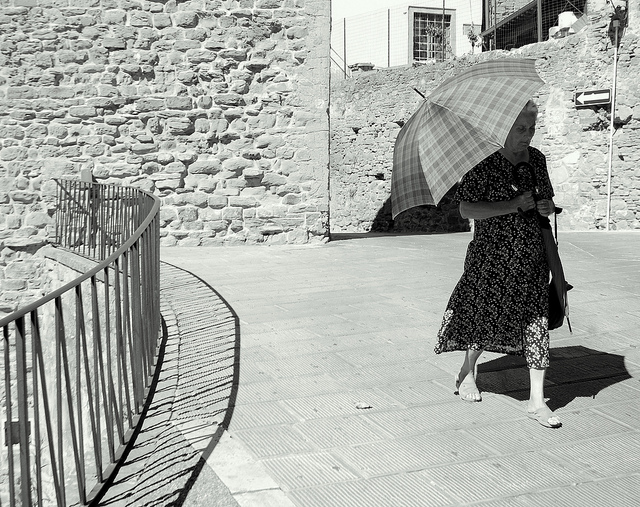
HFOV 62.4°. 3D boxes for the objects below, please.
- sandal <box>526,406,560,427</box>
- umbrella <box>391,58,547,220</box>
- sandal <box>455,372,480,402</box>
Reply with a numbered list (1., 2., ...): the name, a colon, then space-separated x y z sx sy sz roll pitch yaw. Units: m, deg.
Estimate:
1. sandal: 1.163 0.846 2.783 0.065 0.049 0.150 -14 18 -26
2. umbrella: 0.785 -0.623 2.878 0.685 0.854 0.785 -1 10 -2
3. sandal: 0.855 0.785 3.102 0.137 0.132 0.095 3 11 23
